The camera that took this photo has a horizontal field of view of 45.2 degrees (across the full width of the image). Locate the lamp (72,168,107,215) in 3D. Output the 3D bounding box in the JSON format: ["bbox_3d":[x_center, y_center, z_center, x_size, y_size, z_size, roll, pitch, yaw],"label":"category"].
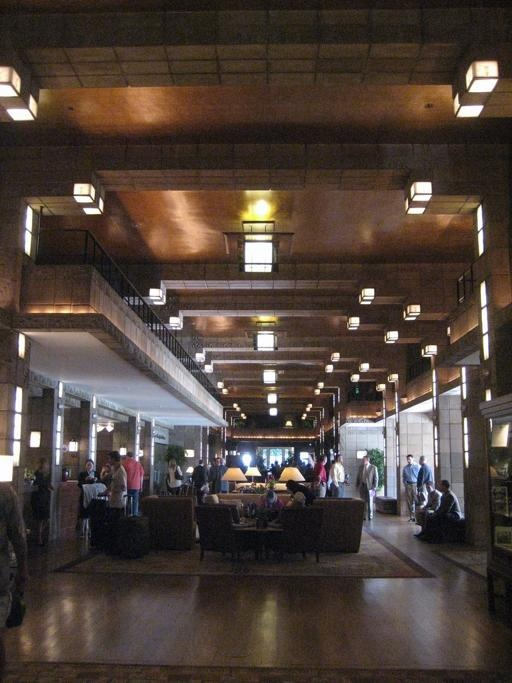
[{"bbox_3d":[-2.340,-2.055,8.531,0.384,0.491,1.347,1,6,-11],"label":"lamp"}]

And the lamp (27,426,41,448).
[{"bbox_3d":[-4.221,1.848,11.762,0.203,0.329,0.558,5,-12,-21],"label":"lamp"}]

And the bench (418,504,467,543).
[{"bbox_3d":[3.442,3.411,11.334,0.699,0.272,0.552,2,6,6],"label":"bench"}]

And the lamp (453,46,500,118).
[{"bbox_3d":[2.077,-2.484,5.807,0.349,0.478,0.532,1,-11,1],"label":"lamp"}]

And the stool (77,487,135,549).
[{"bbox_3d":[-2.477,2.887,10.078,0.728,1.400,0.828,-1,-29,6],"label":"stool"}]

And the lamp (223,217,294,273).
[{"bbox_3d":[0.050,-1.403,9.569,1.026,0.756,1.057,0,5,2],"label":"lamp"}]

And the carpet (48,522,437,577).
[{"bbox_3d":[-0.101,3.097,8.784,4.799,0.100,2.672,1,-12,1],"label":"carpet"}]

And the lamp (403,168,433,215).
[{"bbox_3d":[2.028,-2.032,7.824,0.328,0.455,0.634,-2,-16,6],"label":"lamp"}]
